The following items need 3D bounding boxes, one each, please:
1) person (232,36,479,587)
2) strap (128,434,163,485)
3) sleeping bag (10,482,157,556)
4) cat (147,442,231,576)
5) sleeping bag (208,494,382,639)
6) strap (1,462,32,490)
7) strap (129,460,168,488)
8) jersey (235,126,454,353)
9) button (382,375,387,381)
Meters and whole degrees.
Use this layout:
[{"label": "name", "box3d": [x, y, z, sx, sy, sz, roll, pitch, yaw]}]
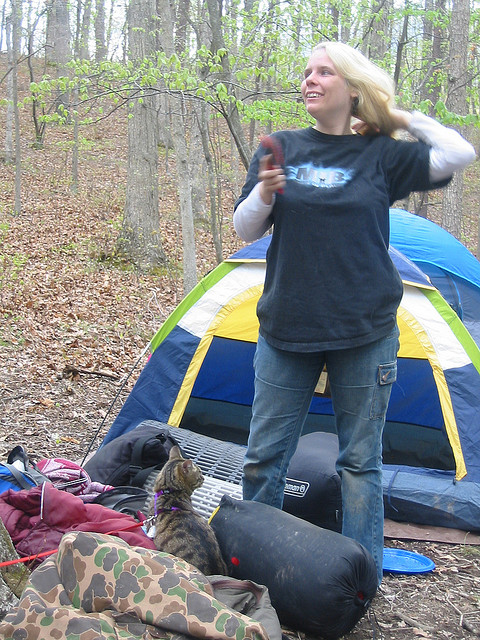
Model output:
[{"label": "person", "box3d": [0.351, -0.072, 2.310, 0.902, 1.873, 0.432, 14, 4, -4]}, {"label": "strap", "box3d": [-0.510, 0.796, 3.493, 0.159, 0.197, 0.213, -2, -4, 36]}, {"label": "sleeping bag", "box3d": [-0.759, 0.857, 2.695, 0.500, 0.156, 0.371, 16, 10, 34]}, {"label": "cat", "box3d": [-0.251, 0.832, 2.617, 0.204, 0.343, 0.656, -10, 33, -17]}, {"label": "sleeping bag", "box3d": [0.202, 0.869, 2.396, 0.769, 0.319, 0.410, 21, -13, 33]}, {"label": "strap", "box3d": [-1.089, 0.767, 2.967, 0.134, 0.032, 0.086, 41, 36, 15]}, {"label": "strap", "box3d": [-0.527, 0.873, 3.489, 0.213, 0.181, 0.143, 5, -9, -20]}, {"label": "jersey", "box3d": [0.359, -0.297, 2.269, 0.657, 0.787, 0.293, 13, 4, -6]}, {"label": "button", "box3d": [0.545, 0.220, 2.277, 0.019, 0.025, 0.016, -4, 1, 10]}]
